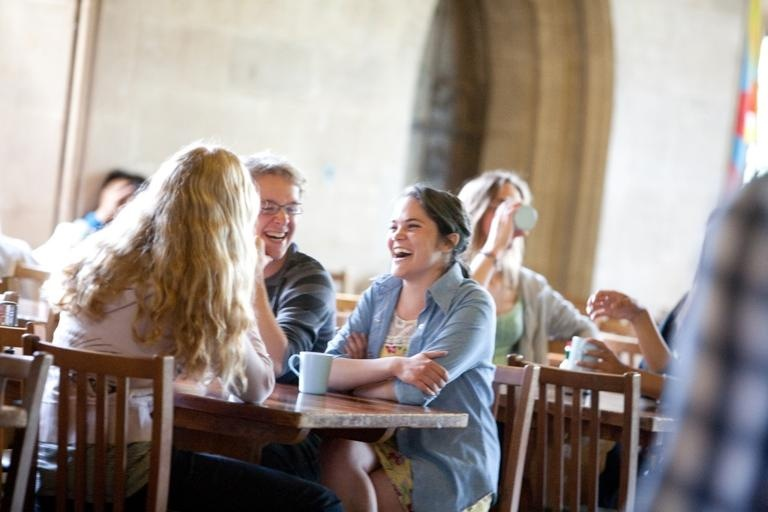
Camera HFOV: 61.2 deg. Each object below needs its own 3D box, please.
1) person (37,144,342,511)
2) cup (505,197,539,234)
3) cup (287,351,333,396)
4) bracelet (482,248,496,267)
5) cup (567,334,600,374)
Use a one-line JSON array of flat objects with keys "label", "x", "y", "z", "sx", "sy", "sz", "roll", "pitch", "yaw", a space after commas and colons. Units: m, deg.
[{"label": "person", "x": -0.557, "y": 0.164, "z": 2.043, "sx": 0.911, "sy": 1.024, "sz": 0.832, "roll": 7, "pitch": 2, "yaw": -41}, {"label": "cup", "x": 0.733, "y": -0.219, "z": 3.428, "sx": 0.180, "sy": 0.164, "sz": 0.131, "roll": -2, "pitch": -9, "yaw": 11}, {"label": "cup", "x": -0.248, "y": 0.340, "z": 1.914, "sx": 0.106, "sy": 0.125, "sz": 0.154, "roll": 2, "pitch": -2, "yaw": -31}, {"label": "bracelet", "x": 0.538, "y": 0.008, "z": 3.299, "sx": 0.094, "sy": 0.079, "sz": 0.091, "roll": -1, "pitch": -5, "yaw": 17}, {"label": "cup", "x": 0.693, "y": 0.351, "z": 2.279, "sx": 0.115, "sy": 0.119, "sz": 0.122, "roll": 1, "pitch": -3, "yaw": 0}]
